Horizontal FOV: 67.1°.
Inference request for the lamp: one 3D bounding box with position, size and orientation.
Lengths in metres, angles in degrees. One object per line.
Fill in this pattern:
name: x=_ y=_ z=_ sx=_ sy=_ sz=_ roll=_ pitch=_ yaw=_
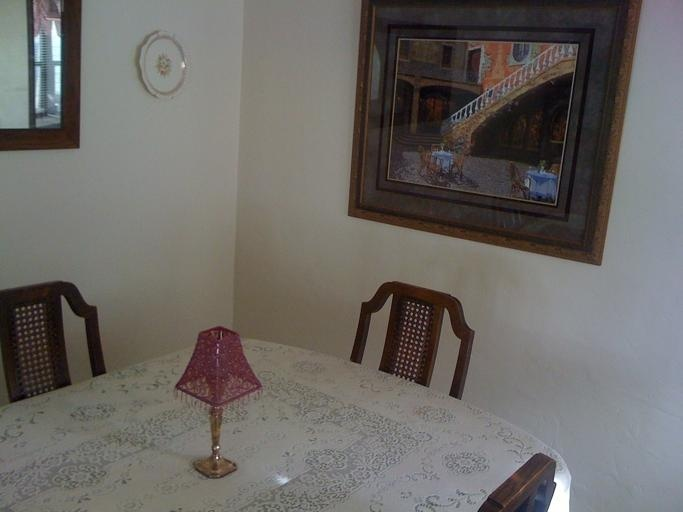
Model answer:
lamp: x=-0.397 y=0.514 z=1.706 sx=0.241 sy=0.536 sz=0.260 roll=24 pitch=29 yaw=39
